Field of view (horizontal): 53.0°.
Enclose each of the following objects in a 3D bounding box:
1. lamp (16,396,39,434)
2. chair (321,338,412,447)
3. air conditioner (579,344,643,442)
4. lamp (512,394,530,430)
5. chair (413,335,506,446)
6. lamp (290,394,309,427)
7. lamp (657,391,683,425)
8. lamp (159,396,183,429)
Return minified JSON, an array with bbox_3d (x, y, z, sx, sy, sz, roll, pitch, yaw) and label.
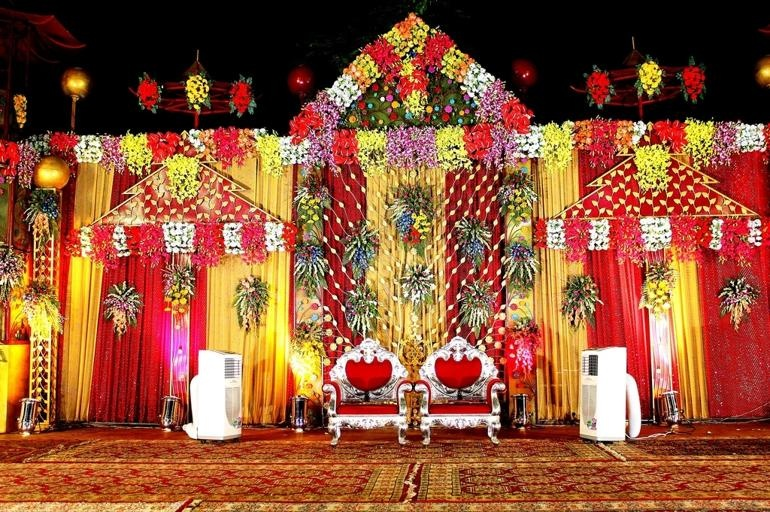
[{"bbox_3d":[-5.535,2.486,11.946,0.278,0.550,0.426,1,-9,-26],"label":"lamp"},{"bbox_3d":[-0.269,2.007,12.052,1.316,1.645,0.930,0,7,-3],"label":"chair"},{"bbox_3d":[3.217,2.016,11.248,0.816,1.265,0.801,-5,-7,29],"label":"air conditioner"},{"bbox_3d":[2.113,2.446,12.044,0.425,0.519,0.427,0,-10,-6],"label":"lamp"},{"bbox_3d":[1.079,1.990,11.297,1.272,1.496,0.867,-1,-5,1],"label":"chair"},{"bbox_3d":[-1.300,2.445,11.987,0.392,0.637,0.396,0,-5,0],"label":"lamp"},{"bbox_3d":[4.369,2.361,11.917,0.323,0.510,0.228,-5,-8,16],"label":"lamp"},{"bbox_3d":[-3.330,2.452,11.997,0.470,0.547,0.340,2,-8,-5],"label":"lamp"}]
